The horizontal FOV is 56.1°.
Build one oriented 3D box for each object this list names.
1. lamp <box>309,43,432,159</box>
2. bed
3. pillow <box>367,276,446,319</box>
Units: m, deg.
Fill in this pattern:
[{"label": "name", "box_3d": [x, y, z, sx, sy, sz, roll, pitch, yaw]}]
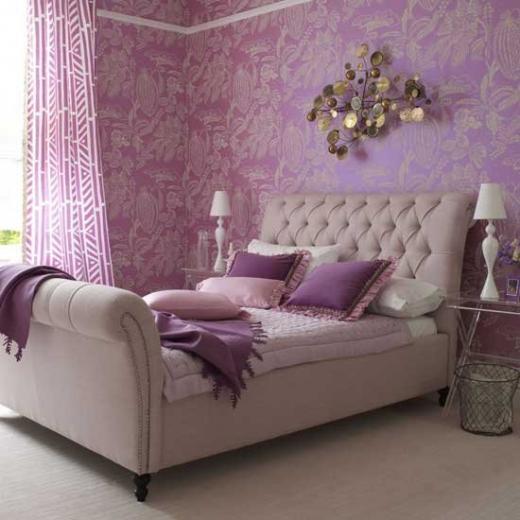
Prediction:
[{"label": "lamp", "box_3d": [0.749, -1.090, 3.520, 0.646, 0.177, 0.585, 9, -13, 46]}, {"label": "bed", "box_3d": [-0.031, 0.322, 2.645, 2.142, 1.021, 1.484, -1, 3, -38]}, {"label": "pillow", "box_3d": [0.831, 0.217, 2.741, 0.267, 0.121, 0.293, -27, 15, -25]}]
